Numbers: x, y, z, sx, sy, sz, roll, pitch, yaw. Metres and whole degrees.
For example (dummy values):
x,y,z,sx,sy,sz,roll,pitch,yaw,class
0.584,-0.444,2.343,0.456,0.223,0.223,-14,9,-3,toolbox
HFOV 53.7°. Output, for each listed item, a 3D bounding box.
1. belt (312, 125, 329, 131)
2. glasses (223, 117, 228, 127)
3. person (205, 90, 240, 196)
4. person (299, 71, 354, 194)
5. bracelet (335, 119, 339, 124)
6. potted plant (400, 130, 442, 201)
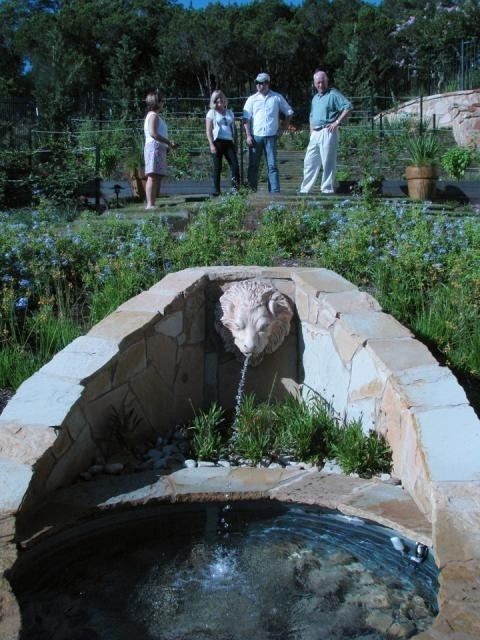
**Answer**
x,y,z,sx,sy,sz,roll,pitch,yaw,class
1.273,-3.058,7.571,0.201,0.073,0.087,5,3,-2,belt
-0.242,-3.207,7.664,0.069,0.107,0.025,0,17,-2,glasses
-0.289,-2.866,7.882,0.512,1.595,1.262,0,12,0,person
1.391,-3.081,7.743,0.728,2.033,1.076,1,12,8,person
1.501,-3.048,7.331,0.066,0.071,0.120,1,11,7,bracelet
3.222,-2.699,8.401,0.568,1.222,1.635,4,13,18,potted plant
